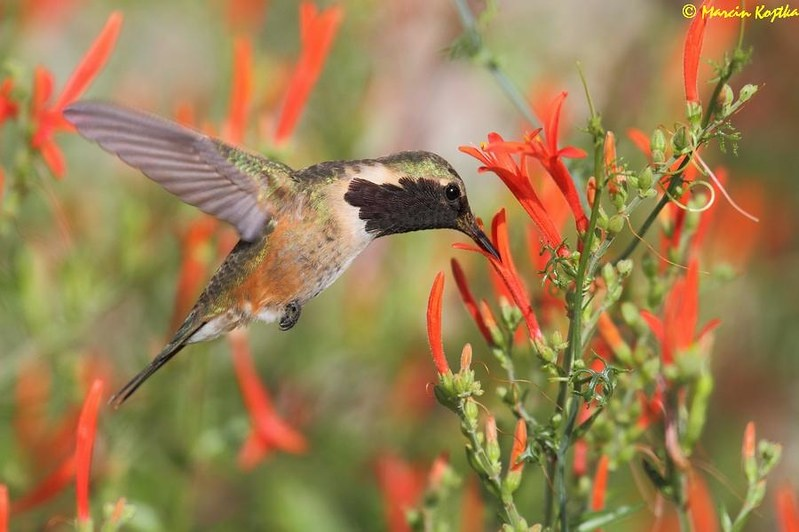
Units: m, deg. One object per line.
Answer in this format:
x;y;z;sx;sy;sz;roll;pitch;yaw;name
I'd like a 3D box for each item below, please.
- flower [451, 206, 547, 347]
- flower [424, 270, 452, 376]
0.273;0.023;2.453;0.170;0.390;0.099;-28;-8;8;flower
0.099;0.128;2.392;0.041;0.319;0.044;-2;-5;20;flower
